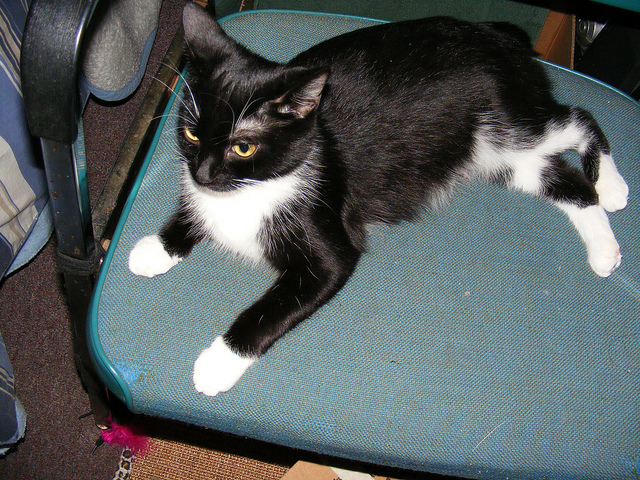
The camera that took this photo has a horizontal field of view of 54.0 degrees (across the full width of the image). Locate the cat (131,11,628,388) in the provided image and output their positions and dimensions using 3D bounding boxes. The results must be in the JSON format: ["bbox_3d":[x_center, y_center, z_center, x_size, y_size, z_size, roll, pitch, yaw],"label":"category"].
[{"bbox_3d":[0.090,-0.064,1.279,0.826,0.438,0.612,-25,58,-4],"label":"cat"}]
